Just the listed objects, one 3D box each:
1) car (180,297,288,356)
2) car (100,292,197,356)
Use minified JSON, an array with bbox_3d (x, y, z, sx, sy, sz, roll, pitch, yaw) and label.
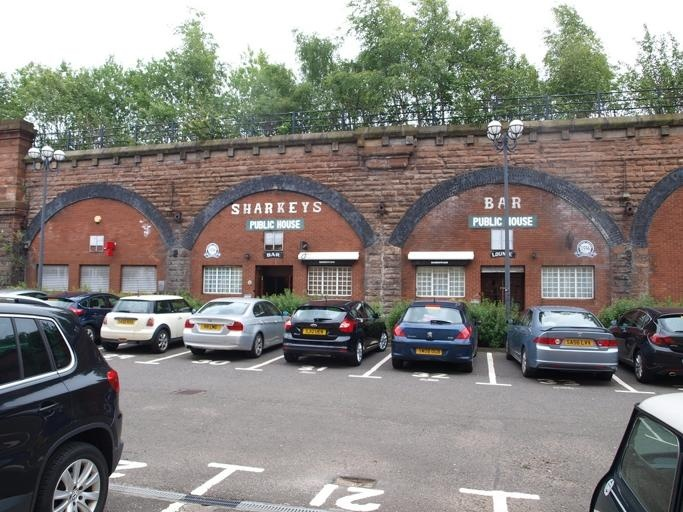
[{"bbox_3d":[-2.686,1.918,18.661,1.352,1.009,3.036,0,0,14],"label":"car"},{"bbox_3d":[-5.560,1.963,19.369,1.452,1.216,2.608,0,1,16],"label":"car"}]
